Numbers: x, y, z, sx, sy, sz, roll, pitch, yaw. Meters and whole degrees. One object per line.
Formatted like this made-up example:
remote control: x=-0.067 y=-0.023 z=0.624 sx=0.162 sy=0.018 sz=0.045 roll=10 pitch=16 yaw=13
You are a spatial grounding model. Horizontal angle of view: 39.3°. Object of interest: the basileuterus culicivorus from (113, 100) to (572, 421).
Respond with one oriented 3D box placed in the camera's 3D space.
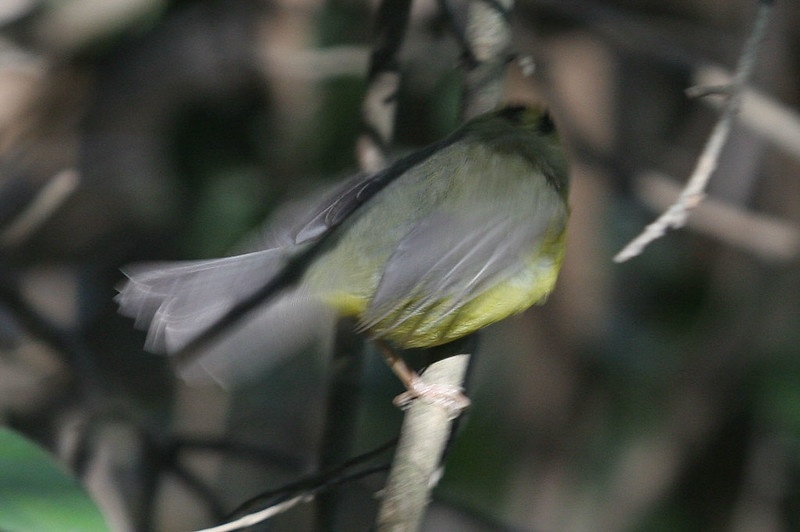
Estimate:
basileuterus culicivorus: x=-0.037 y=-0.021 z=1.443 sx=0.638 sy=0.336 sz=0.314 roll=-10 pitch=30 yaw=-25
